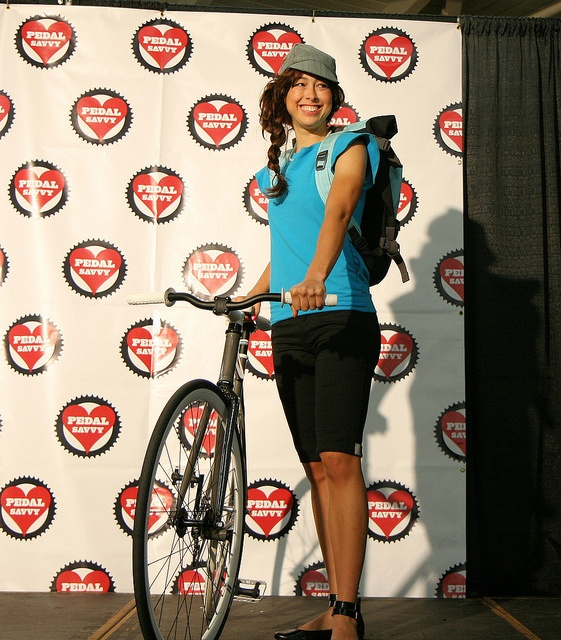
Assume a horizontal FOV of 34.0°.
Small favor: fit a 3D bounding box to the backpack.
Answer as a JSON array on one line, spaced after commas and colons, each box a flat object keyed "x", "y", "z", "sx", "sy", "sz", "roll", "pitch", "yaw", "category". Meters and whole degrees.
[{"x": 0.170, "y": -0.438, "z": 3.341, "sx": 0.470, "sy": 0.616, "sz": 0.427, "roll": 0, "pitch": -2, "yaw": -13, "category": "backpack"}]
